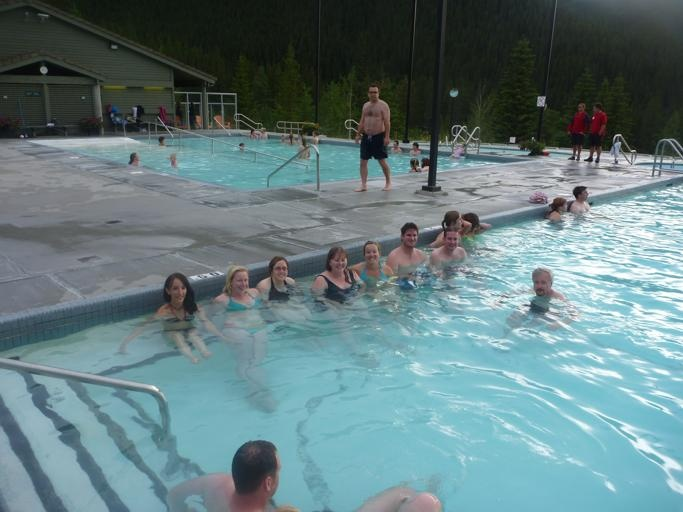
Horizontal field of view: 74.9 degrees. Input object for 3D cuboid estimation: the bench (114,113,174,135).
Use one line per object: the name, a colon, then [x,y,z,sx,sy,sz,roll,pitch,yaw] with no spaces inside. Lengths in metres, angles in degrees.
bench: [-10.598,-7.101,24.396,2.166,0.959,3.075,-5,14,-21]

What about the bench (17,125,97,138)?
bench: [-13.299,-5.983,21.677,1.108,0.580,3.442,9,16,36]

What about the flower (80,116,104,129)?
flower: [-12.169,-6.691,22.629,0.696,0.359,0.652,0,28,-12]

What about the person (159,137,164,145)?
person: [-7.923,-5.131,20.242,0.156,0.379,0.839,-8,15,-24]

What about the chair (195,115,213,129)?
chair: [-8.561,-8.294,28.287,0.900,0.800,2.724,-5,14,-17]
